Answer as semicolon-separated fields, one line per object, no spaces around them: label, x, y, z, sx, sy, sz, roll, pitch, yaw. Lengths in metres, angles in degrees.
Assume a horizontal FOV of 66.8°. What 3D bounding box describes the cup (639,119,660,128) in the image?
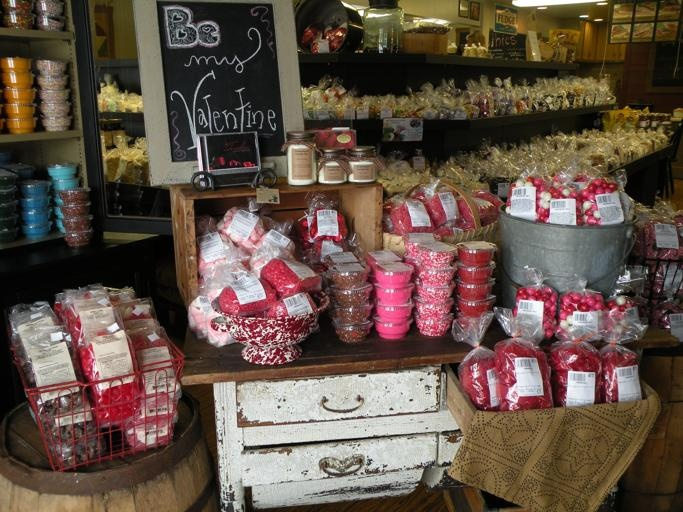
cup;4.049;-1.788;6.821;0.148;0.146;0.148;1;9;0

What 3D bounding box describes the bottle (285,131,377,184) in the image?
bottle;-0.039;-0.380;2.001;0.308;0.179;0.237;7;15;29

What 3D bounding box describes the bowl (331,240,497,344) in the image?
bowl;0.262;0.106;1.812;0.308;0.203;0.426;4;9;19

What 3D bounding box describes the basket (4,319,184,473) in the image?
basket;-0.766;0.336;1.675;0.392;0.313;0.480;-9;26;-28

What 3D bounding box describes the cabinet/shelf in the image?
cabinet/shelf;0.010;0.004;2.013;1.727;1.613;0.967;1;29;-2

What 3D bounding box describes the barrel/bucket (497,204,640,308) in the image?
barrel/bucket;0.811;-0.021;1.873;0.349;0.266;0.362;1;10;0
